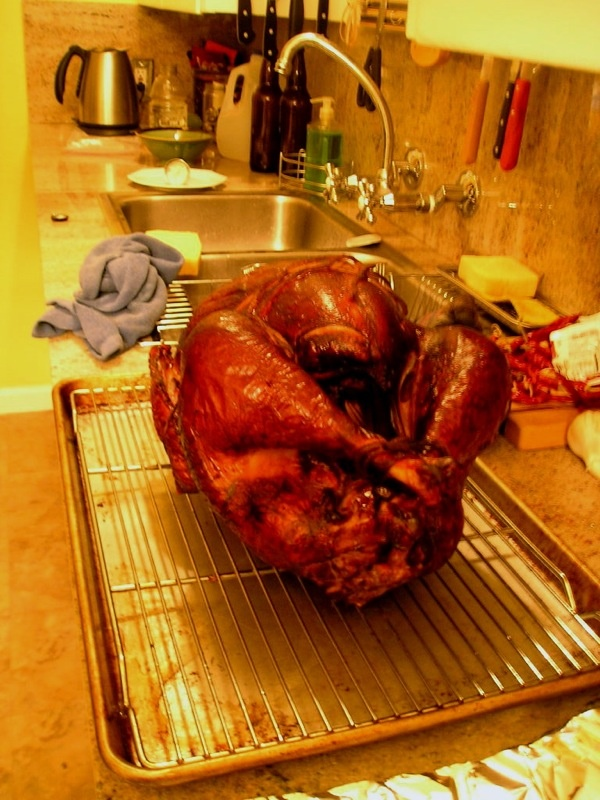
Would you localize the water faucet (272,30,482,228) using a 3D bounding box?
[{"bbox_3d":[0.169,-0.571,1.344,0.367,0.359,0.416,-4,25,-12],"label":"water faucet"}]

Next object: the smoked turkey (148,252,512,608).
[{"bbox_3d":[0.038,-0.017,0.611,0.300,0.193,0.375,-6,42,-17],"label":"smoked turkey"}]

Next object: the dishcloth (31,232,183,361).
[{"bbox_3d":[-0.298,-0.221,1.075,0.192,0.078,0.282,21,48,17],"label":"dishcloth"}]

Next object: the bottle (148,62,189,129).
[{"bbox_3d":[-0.481,-1.094,2.310,0.136,0.216,0.136,2,27,-1],"label":"bottle"}]

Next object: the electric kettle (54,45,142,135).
[{"bbox_3d":[-0.683,-1.084,2.245,0.214,0.271,0.221,-1,25,-14],"label":"electric kettle"}]

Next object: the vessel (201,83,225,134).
[{"bbox_3d":[-0.331,-1.091,2.374,0.128,0.183,0.052,23,30,34],"label":"vessel"}]

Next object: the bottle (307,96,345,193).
[{"bbox_3d":[0.066,-0.731,1.823,0.100,0.258,0.099,3,29,-2],"label":"bottle"}]
